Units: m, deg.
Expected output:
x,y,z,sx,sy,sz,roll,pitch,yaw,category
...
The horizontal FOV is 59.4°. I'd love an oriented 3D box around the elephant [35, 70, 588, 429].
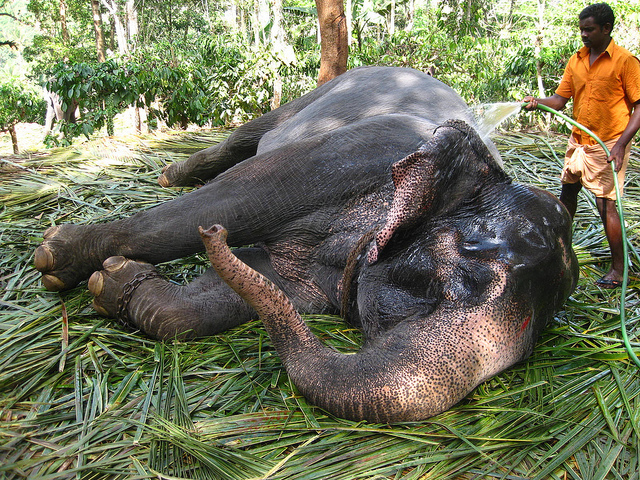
x,y,z,sx,sy,sz,roll,pitch,yaw,category
0.036,-0.150,2.270,1.817,1.039,1.605,16,25,38,elephant
